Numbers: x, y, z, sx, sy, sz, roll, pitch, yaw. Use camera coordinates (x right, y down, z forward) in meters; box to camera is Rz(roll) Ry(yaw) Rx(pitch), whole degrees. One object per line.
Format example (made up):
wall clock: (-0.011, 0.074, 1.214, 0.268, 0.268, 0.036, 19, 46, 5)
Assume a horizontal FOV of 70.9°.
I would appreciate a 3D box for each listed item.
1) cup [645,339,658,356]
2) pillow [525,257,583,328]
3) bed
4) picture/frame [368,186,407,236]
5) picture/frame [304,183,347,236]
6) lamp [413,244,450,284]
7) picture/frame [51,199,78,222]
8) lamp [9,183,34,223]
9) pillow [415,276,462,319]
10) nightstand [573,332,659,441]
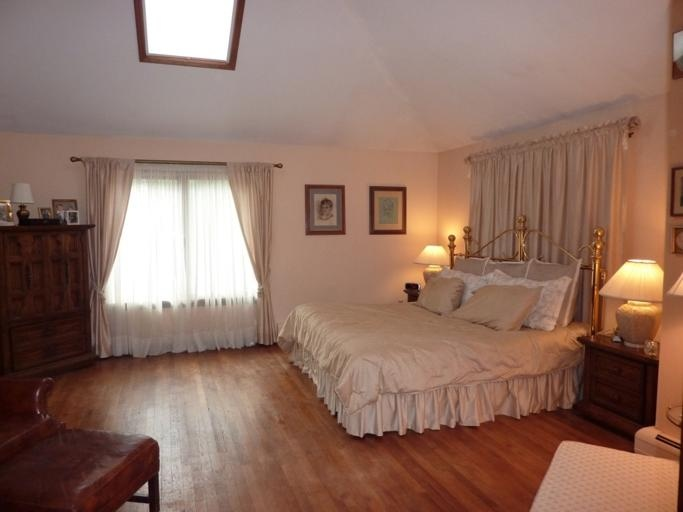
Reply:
cup: (2.626, 0.772, 4.034, 0.105, 0.113, 0.110, 2, -2, 0)
pillow: (2.179, 0.342, 4.824, 0.174, 0.603, 0.573, 20, -8, -26)
bed: (1.182, 0.510, 4.767, 2.080, 1.483, 2.109, -5, 9, -23)
picture/frame: (0.676, -0.704, 7.157, 0.662, 0.850, 0.059, -2, 8, -13)
picture/frame: (-0.253, -0.674, 6.845, 0.681, 0.865, 0.060, -2, 4, -17)
lamp: (1.261, 0.100, 6.722, 0.468, 0.522, 0.492, 2, 4, 29)
picture/frame: (-3.307, -0.548, 5.749, 0.281, 0.251, 0.340, -7, 12, -31)
lamp: (-3.627, -0.589, 5.446, 0.302, 0.463, 0.312, -1, 2, -17)
pillow: (1.141, 0.441, 5.650, 0.343, 0.420, 0.680, 4, 0, -28)
nightstand: (2.586, 1.122, 4.283, 0.489, 0.776, 0.711, -12, 13, -27)
